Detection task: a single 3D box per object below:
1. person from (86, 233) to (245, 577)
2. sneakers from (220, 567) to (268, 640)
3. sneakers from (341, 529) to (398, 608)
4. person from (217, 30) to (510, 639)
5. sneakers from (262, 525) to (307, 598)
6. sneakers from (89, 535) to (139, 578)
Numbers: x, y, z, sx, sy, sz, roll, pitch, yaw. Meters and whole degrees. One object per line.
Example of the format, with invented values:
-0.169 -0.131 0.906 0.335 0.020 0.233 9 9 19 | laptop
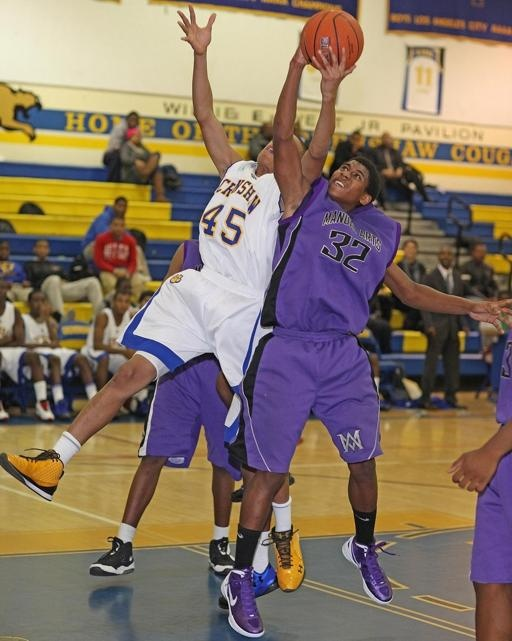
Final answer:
-0.327 0.326 3.444 0.688 1.558 0.502 6 -14 -12 | person
-0.045 0.952 2.589 0.096 0.119 0.270 -1 17 -16 | sneakers
0.465 0.972 3.068 0.115 0.144 0.325 -5 40 -34 | sneakers
0.227 0.053 2.839 0.714 2.068 0.284 4 -3 -42 | person
0.109 0.926 2.962 0.125 0.273 0.123 -13 -34 19 | sneakers
-0.625 0.978 3.126 0.265 0.168 0.092 7 -14 -39 | sneakers
